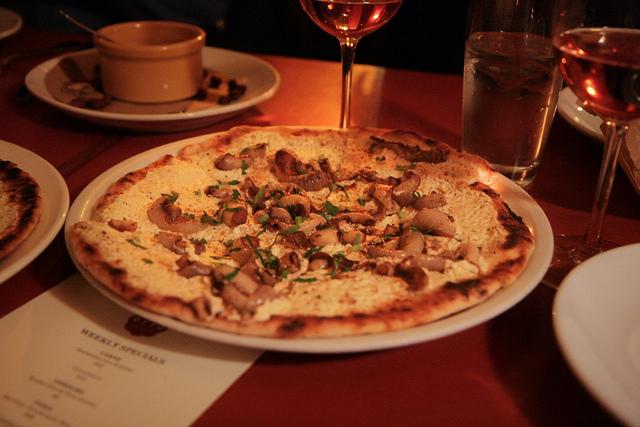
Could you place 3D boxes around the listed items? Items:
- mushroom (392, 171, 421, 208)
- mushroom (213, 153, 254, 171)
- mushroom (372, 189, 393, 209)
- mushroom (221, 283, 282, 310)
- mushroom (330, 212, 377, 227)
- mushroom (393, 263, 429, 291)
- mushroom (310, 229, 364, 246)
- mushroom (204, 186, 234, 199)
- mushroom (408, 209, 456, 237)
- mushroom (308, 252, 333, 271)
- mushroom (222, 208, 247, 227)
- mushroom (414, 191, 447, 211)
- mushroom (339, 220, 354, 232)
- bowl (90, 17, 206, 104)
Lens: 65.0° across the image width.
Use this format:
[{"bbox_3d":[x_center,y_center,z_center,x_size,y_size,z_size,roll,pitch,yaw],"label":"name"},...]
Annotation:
[{"bbox_3d":[0.248,-0.068,1.386,0.062,0.034,0.106,-5,25,-2],"label":"mushroom"},{"bbox_3d":[-0.252,-0.152,1.478,0.092,0.038,0.053,-5,15,-35],"label":"mushroom"},{"bbox_3d":[0.174,-0.044,1.376,0.041,0.020,0.072,-9,43,-7],"label":"mushroom"},{"bbox_3d":[-0.149,0.177,1.065,0.122,0.035,0.063,5,47,8],"label":"mushroom"},{"bbox_3d":[0.090,0.014,1.325,0.068,0.016,0.051,12,7,-14],"label":"mushroom"},{"bbox_3d":[0.204,0.139,1.117,0.057,0.017,0.058,18,36,18],"label":"mushroom"},{"bbox_3d":[0.044,0.060,1.245,0.093,0.038,0.056,-1,-4,-10],"label":"mushroom"},{"bbox_3d":[-0.287,-0.063,1.399,0.059,0.019,0.036,-7,23,-41],"label":"mushroom"},{"bbox_3d":[0.273,0.023,1.312,0.030,0.097,0.068,-19,78,-44],"label":"mushroom"},{"bbox_3d":[0.000,0.110,1.155,0.037,0.025,0.045,1,4,4],"label":"mushroom"},{"bbox_3d":[-0.221,0.010,1.293,0.039,0.018,0.048,2,33,-7],"label":"mushroom"},{"bbox_3d":[0.300,-0.037,1.358,0.069,0.016,0.044,-8,61,0],"label":"mushroom"},{"bbox_3d":[0.067,0.033,1.318,0.021,0.009,0.033,-15,37,-29],"label":"mushroom"},{"bbox_3d":[-0.660,-0.585,1.990,0.373,0.229,0.370,1,28,0],"label":"bowl"}]
